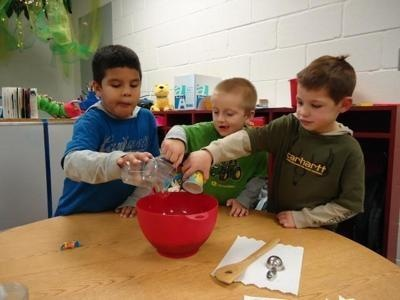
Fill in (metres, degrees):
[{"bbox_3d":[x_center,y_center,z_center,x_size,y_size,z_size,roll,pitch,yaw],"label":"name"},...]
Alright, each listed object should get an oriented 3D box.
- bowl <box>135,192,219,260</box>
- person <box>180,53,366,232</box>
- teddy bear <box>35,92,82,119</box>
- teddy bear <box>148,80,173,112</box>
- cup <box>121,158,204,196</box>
[{"bbox_3d":[-0.080,0.259,1.058,0.269,0.179,0.272,1,8,0],"label":"bowl"},{"bbox_3d":[0.411,-0.072,1.582,0.845,0.876,0.606,2,10,-16],"label":"person"},{"bbox_3d":[-1.145,-0.334,2.552,0.340,0.146,0.182,14,12,-18],"label":"teddy bear"},{"bbox_3d":[-0.374,-0.496,2.917,0.212,0.264,0.211,-4,10,-21],"label":"teddy bear"},{"bbox_3d":[-0.117,0.083,1.027,0.282,0.111,0.118,0,11,-15],"label":"cup"}]
